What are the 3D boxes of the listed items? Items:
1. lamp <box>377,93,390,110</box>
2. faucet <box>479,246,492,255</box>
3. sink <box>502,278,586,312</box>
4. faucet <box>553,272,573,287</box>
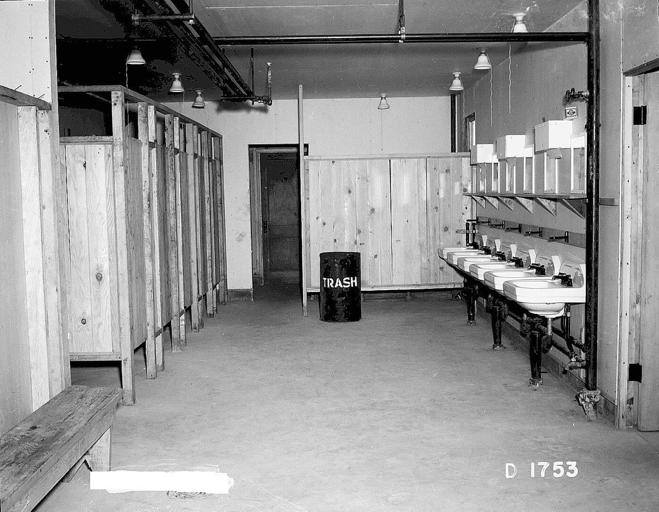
[{"bbox_3d":[1.007,-2.860,10.855,0.196,0.269,0.209,-1,5,-3],"label":"lamp"},{"bbox_3d":[2.257,-0.081,8.411,0.133,0.079,0.096,-4,13,6],"label":"faucet"},{"bbox_3d":[2.015,0.376,5.517,0.709,0.254,0.616,1,7,18],"label":"sink"},{"bbox_3d":[2.210,0.228,5.522,0.150,0.075,0.093,-2,9,-18],"label":"faucet"}]
